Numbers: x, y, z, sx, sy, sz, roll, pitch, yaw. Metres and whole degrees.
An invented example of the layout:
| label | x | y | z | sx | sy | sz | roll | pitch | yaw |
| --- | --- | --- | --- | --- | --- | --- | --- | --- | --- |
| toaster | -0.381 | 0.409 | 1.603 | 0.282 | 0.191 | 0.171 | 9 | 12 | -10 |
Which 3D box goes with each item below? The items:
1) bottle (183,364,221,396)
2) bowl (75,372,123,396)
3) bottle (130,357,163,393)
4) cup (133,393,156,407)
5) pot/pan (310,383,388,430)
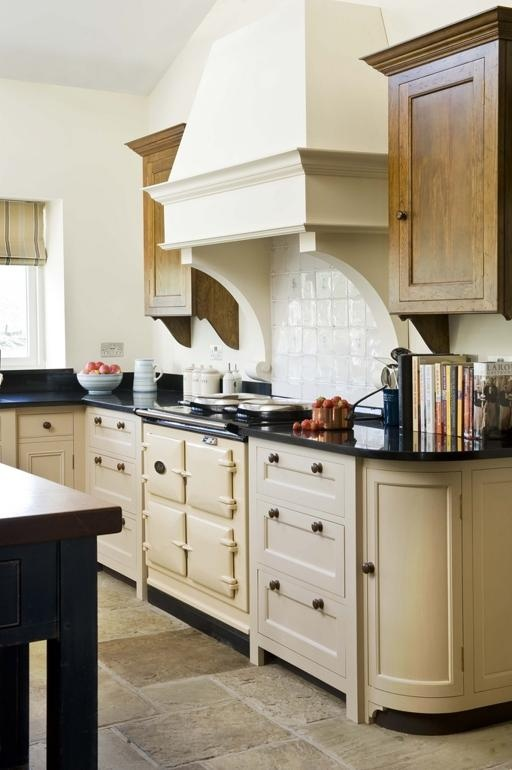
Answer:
| label | x | y | z | sx | sy | sz | roll | pitch | yaw |
| --- | --- | --- | --- | --- | --- | --- | --- | --- | --- |
| bottle | -0.293 | -0.027 | 3.631 | 0.115 | 0.162 | 0.211 | 1 | -3 | -31 |
| bowl | -0.896 | -0.004 | 3.985 | 0.208 | 0.132 | 0.203 | -2 | -1 | 0 |
| bottle | -0.622 | -0.050 | 4.000 | 0.162 | 0.196 | 0.143 | 0 | -2 | -38 |
| cup | -0.568 | 0.076 | 3.535 | 0.096 | 0.075 | 0.098 | 0 | 3 | 0 |
| pot/pan | 0.272 | 0.066 | 2.298 | 0.113 | 0.194 | 0.318 | -1 | 4 | -24 |
